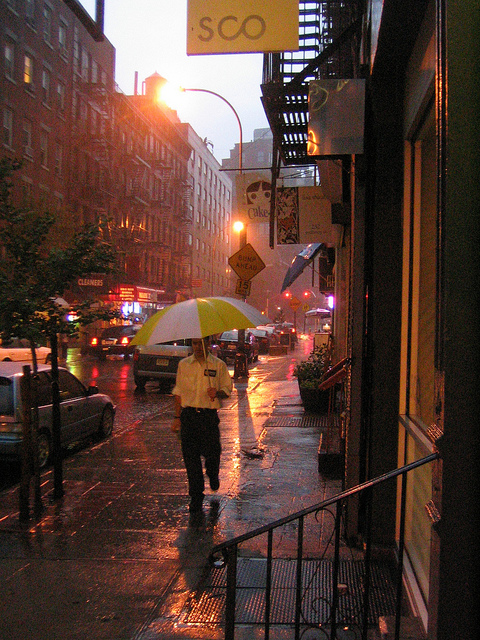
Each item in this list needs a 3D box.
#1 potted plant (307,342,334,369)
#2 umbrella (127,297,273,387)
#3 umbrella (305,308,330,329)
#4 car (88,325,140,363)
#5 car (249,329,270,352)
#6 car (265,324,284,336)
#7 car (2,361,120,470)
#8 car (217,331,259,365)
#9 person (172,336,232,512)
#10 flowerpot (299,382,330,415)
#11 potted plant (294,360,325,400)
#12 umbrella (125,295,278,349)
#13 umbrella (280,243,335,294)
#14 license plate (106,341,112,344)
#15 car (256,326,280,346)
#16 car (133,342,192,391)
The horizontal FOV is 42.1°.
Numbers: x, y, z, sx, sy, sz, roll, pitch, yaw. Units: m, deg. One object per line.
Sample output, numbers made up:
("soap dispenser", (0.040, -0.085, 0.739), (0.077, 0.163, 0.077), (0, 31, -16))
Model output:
("potted plant", (1.753, 0.752, 13.607), (0.397, 0.678, 0.500), (25, 1, 2))
("umbrella", (-0.404, 0.188, 6.360), (0.977, 0.857, 1.130), (-13, 10, -16))
("umbrella", (8.318, -0.050, 68.365), (2.073, 2.562, 2.399), (1, 17, 9))
("car", (-5.853, 1.085, 28.331), (0.980, 1.148, 2.830), (0, 3, 3))
("car", (0.978, 1.155, 32.997), (0.821, 0.962, 2.180), (0, 2, 7))
("car", (2.582, 0.655, 42.550), (0.705, 0.825, 1.817), (0, 6, 8))
("car", (-2.320, 1.138, 8.068), (0.879, 1.209, 2.153), (0, 4, 11))
("car", (-0.270, 1.087, 28.015), (0.836, 1.127, 2.170), (1, 5, 13))
("person", (-0.377, 0.994, 6.143), (0.604, 1.688, 0.594), (-3, 0, -2))
("flowerpot", (1.456, 1.583, 12.309), (0.571, 0.584, 0.579), (-4, -7, 36))
("potted plant", (1.483, 1.236, 12.858), (0.610, 0.928, 0.570), (0, -2, -23))
("umbrella", (-0.400, -0.015, 6.090), (1.303, 0.485, 0.879), (-5, 0, -13))
("umbrella", (1.499, -1.356, 14.693), (0.862, 1.059, 2.405), (-3, 0, 9))
("license plate", (-5.966, 1.036, 28.173), (0.264, 0.122, 0.072), (-5, 0, -2))
("car", (1.750, 0.990, 38.101), (0.746, 0.878, 1.971), (0, 3, 9))
("car", (-2.145, 1.451, 17.499), (1.025, 1.489, 2.234), (0, 3, 11))
